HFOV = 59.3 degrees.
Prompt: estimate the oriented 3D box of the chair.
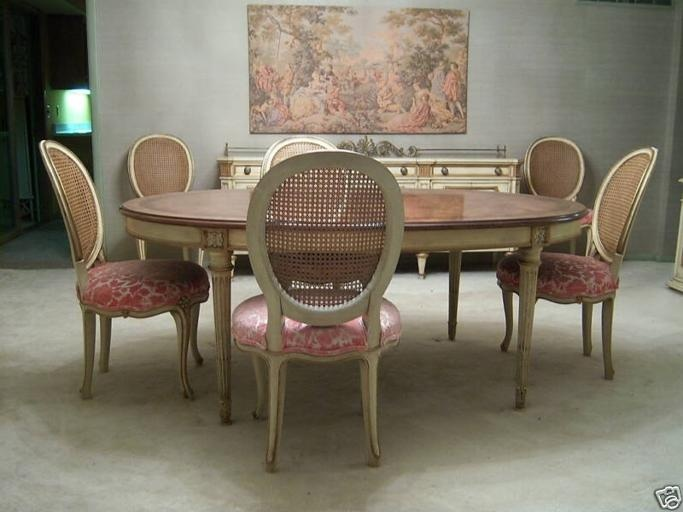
[{"bbox_3d":[0.095,0.104,2.975,2.880,1.303,1.182,-5,14,-21],"label":"chair"}]
